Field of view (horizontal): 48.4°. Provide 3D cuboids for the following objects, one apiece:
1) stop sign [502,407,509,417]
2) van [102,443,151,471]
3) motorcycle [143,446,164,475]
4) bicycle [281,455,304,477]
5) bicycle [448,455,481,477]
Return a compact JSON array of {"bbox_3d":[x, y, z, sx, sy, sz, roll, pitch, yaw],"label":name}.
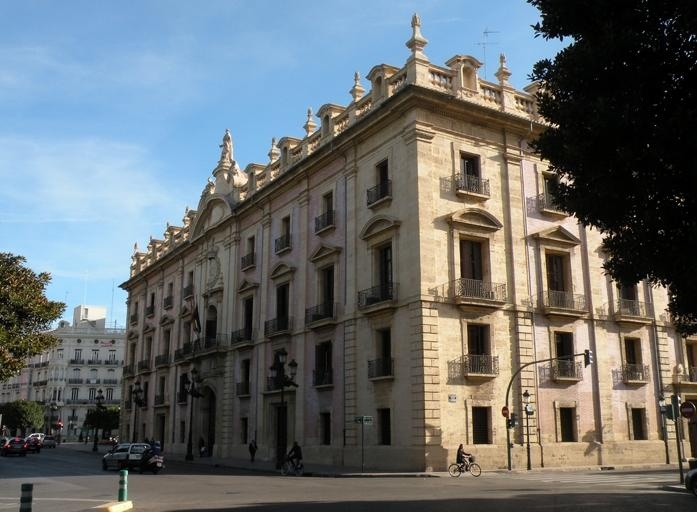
[{"bbox_3d":[7.115,7.041,35.000,0.288,0.534,0.966,-4,-18,9],"label":"stop sign"},{"bbox_3d":[-10.413,9.393,36.265,2.496,1.219,1.015,-16,-23,38],"label":"van"},{"bbox_3d":[-9.036,9.397,35.725,0.910,1.235,1.443,4,-19,-14],"label":"motorcycle"},{"bbox_3d":[-2.297,9.225,33.606,1.110,0.666,0.559,-29,-36,32],"label":"bicycle"},{"bbox_3d":[4.870,8.841,32.365,1.338,0.783,1.158,-1,-18,1],"label":"bicycle"}]
